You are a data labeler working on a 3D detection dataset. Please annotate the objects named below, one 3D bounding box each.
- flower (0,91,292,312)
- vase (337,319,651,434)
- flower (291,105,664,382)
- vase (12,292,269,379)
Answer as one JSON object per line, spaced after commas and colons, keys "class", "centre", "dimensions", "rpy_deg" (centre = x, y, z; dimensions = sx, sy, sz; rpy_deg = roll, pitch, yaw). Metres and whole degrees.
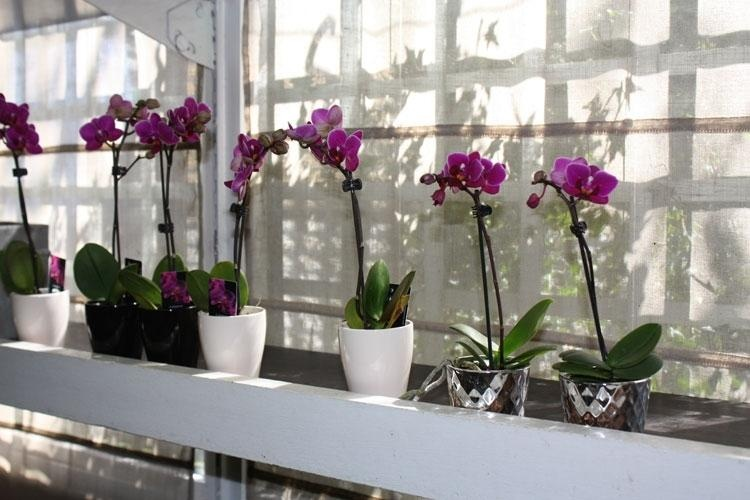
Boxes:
{"class": "flower", "centre": [-0.711, -0.154, 2.146], "dimensions": [0.585, 0.566, 0.155], "rpy_deg": [2, 7, 17]}
{"class": "vase", "centre": [0.289, 0.312, 1.846], "dimensions": [0.780, 0.260, 0.178], "rpy_deg": [2, 0, 13]}
{"class": "flower", "centre": [0.335, -0.029, 2.028], "dimensions": [0.632, 0.511, 0.218], "rpy_deg": [10, 27, 18]}
{"class": "vase", "centre": [-0.512, 0.241, 1.931], "dimensions": [0.396, 0.193, 0.343], "rpy_deg": [8, -10, -31]}
